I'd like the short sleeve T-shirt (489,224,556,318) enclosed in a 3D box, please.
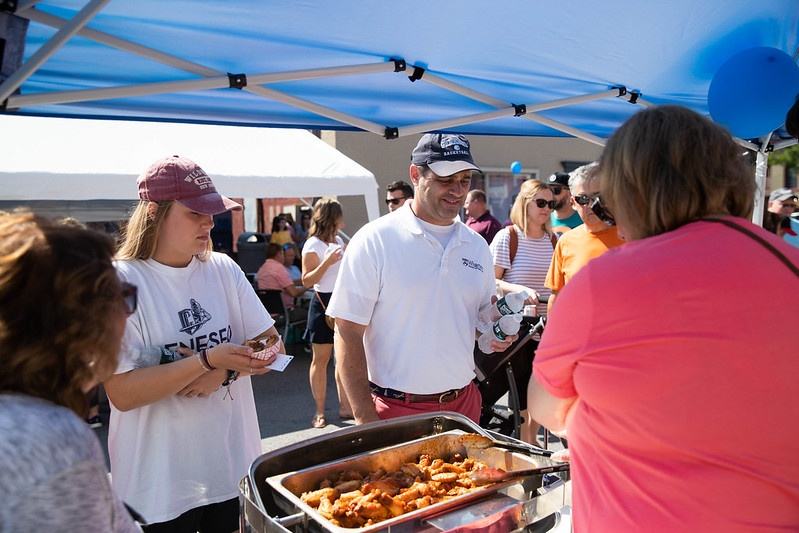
[{"bbox_3d":[0.911,0.034,4.929,0.586,0.721,0.346,5,-9,-21],"label":"short sleeve T-shirt"}]

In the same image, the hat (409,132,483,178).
[{"bbox_3d":[0.206,-0.586,3.563,0.215,0.178,0.315,2,6,-29],"label":"hat"}]

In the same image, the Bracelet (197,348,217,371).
[{"bbox_3d":[-0.858,0.412,2.995,0.031,0.089,0.076,-13,0,-13],"label":"Bracelet"}]

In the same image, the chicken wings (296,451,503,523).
[{"bbox_3d":[-0.013,0.868,2.611,0.547,0.103,0.273,-5,9,-33],"label":"chicken wings"}]

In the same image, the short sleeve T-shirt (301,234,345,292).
[{"bbox_3d":[-0.699,-0.039,6.112,0.279,0.542,0.548,2,7,20],"label":"short sleeve T-shirt"}]

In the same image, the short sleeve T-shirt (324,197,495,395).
[{"bbox_3d":[0.143,0.158,3.613,0.964,0.991,0.456,0,-5,-24],"label":"short sleeve T-shirt"}]

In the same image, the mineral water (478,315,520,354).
[{"bbox_3d":[0.502,0.340,3.424,0.088,0.096,0.259,24,-30,-11],"label":"mineral water"}]

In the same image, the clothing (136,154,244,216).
[{"bbox_3d":[-1.006,-0.392,3.216,0.491,0.284,0.331,3,5,8],"label":"clothing"}]

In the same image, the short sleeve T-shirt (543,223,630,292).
[{"bbox_3d":[0.983,-0.053,3.544,0.430,0.359,0.223,-13,3,0],"label":"short sleeve T-shirt"}]

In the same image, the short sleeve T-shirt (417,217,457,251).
[{"bbox_3d":[0.196,-0.184,3.518,0.147,0.099,0.160,18,-22,19],"label":"short sleeve T-shirt"}]

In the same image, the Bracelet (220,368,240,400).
[{"bbox_3d":[-0.800,0.552,3.146,0.041,0.139,0.092,5,-2,-17],"label":"Bracelet"}]
